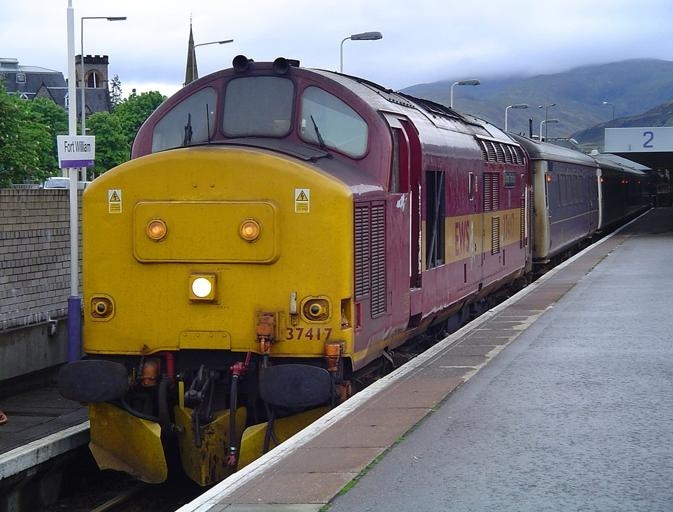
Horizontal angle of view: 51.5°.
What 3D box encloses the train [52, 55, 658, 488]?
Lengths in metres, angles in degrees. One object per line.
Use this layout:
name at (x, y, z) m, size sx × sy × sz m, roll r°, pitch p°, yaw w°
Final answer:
train at (1.232, -1.061, 13.317) m, size 3.930 × 3.754 × 15.860 m, roll 11°, pitch 10°, yaw 20°
